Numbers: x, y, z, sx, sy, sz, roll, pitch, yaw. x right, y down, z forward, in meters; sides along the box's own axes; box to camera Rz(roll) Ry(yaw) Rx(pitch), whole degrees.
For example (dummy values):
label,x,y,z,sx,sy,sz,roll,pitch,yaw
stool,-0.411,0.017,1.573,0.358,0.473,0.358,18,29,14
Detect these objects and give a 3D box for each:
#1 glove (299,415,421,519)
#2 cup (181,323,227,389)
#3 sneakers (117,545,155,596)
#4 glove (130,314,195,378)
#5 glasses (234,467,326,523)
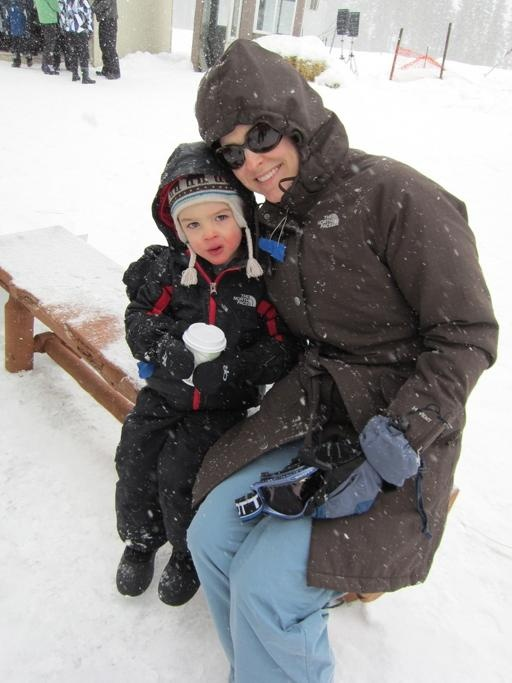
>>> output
label,x,y,z,sx,sy,sz,roll,pitch,yaw
glove,0.283,0.328,1.572,0.188,0.296,0.129,48,5,26
cup,-0.161,0.049,1.893,0.134,0.155,0.128,16,36,-12
sneakers,-0.392,0.746,2.005,0.091,0.084,0.204,5,33,-10
glove,-0.287,0.036,1.994,0.161,0.119,0.236,-22,52,-28
glasses,0.053,0.382,1.573,0.194,0.075,0.138,-18,9,-4
